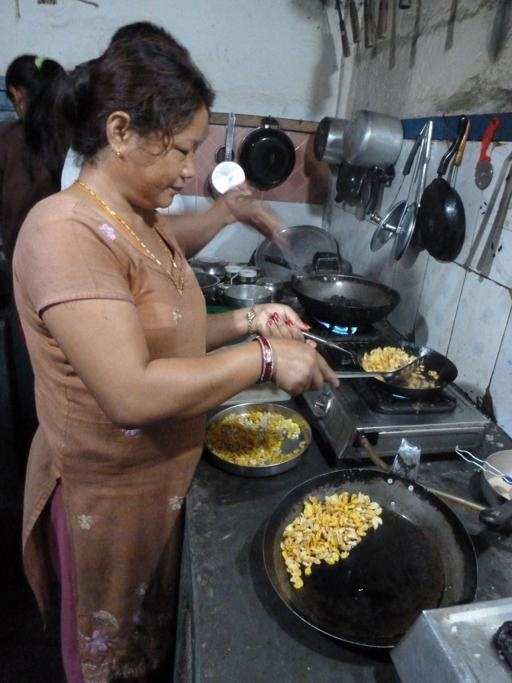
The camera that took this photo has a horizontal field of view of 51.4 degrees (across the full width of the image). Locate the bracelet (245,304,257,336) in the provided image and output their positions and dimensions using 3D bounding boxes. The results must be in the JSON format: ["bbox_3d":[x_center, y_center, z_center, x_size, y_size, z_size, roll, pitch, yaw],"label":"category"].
[{"bbox_3d":[-0.012,-0.054,1.369,0.017,0.053,0.040,6,8,-9],"label":"bracelet"}]

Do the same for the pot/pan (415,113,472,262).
[{"bbox_3d":[0.579,-0.449,1.607,0.075,0.419,0.240,2,28,-8],"label":"pot/pan"}]

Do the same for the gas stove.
[{"bbox_3d":[0.350,0.087,1.593,0.375,0.161,0.713,-4,23,-2],"label":"gas stove"}]

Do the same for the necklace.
[{"bbox_3d":[-0.222,-0.197,1.037,0.229,0.211,0.124,-14,34,-34],"label":"necklace"}]

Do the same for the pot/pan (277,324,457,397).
[{"bbox_3d":[0.302,0.078,1.427,0.385,0.052,0.197,7,23,-9],"label":"pot/pan"}]
